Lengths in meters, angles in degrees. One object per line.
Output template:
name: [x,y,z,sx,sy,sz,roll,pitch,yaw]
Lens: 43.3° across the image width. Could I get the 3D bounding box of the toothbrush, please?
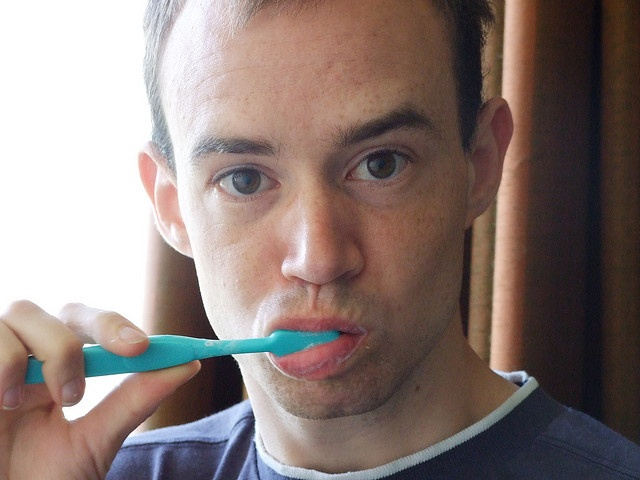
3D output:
toothbrush: [-0.266,0.225,1.549,0.652,0.068,0.091,-6,47,4]
